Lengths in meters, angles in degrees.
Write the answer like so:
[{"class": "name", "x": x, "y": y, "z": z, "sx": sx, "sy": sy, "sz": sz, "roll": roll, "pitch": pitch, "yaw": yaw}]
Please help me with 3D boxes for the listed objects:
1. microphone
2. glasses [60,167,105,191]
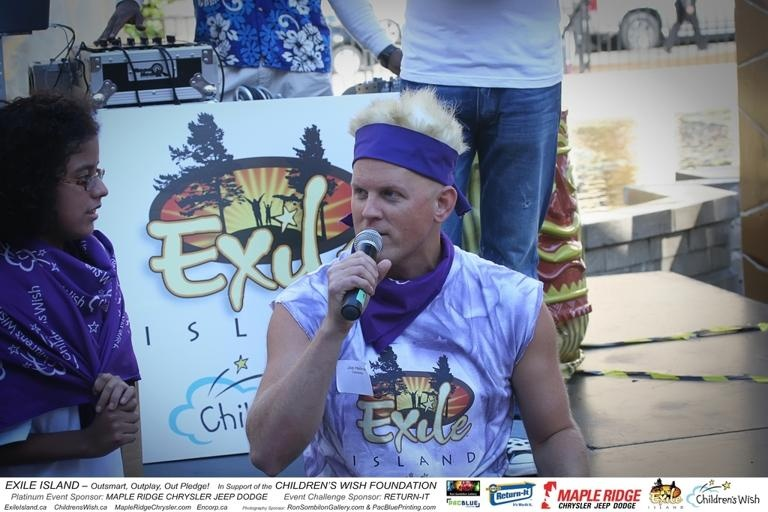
[{"class": "microphone", "x": -0.111, "y": 0.084, "z": 4.532, "sx": 0.143, "sy": 0.386, "sz": 0.278, "roll": 0, "pitch": 7, "yaw": 12}, {"class": "glasses", "x": -1.516, "y": -0.378, "z": 4.966, "sx": 0.133, "sy": 0.049, "sz": 0.140, "roll": -7, "pitch": 11, "yaw": 17}]
